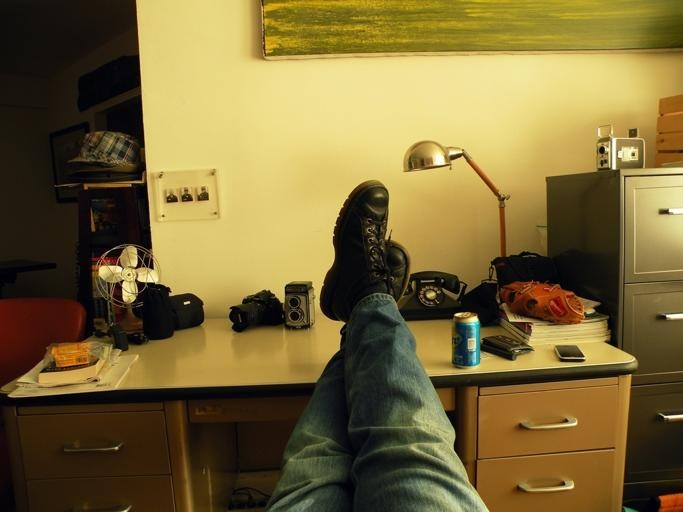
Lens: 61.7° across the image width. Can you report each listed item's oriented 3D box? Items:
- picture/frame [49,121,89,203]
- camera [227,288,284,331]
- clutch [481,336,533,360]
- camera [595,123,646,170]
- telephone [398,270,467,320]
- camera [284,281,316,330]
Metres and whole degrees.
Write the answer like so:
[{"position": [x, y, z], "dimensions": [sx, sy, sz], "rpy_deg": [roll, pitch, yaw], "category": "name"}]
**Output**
[{"position": [-1.954, -0.682, 4.063], "dimensions": [0.051, 0.779, 0.740], "rpy_deg": [5, 12, -34], "category": "picture/frame"}, {"position": [-0.354, 0.217, 2.327], "dimensions": [0.188, 0.129, 0.223], "rpy_deg": [3, 12, 23], "category": "camera"}, {"position": [0.563, 0.309, 1.977], "dimensions": [0.084, 0.031, 0.111], "rpy_deg": [-6, 11, -32], "category": "clutch"}, {"position": [1.073, -0.415, 2.206], "dimensions": [0.151, 0.166, 0.116], "rpy_deg": [-2, 6, -11], "category": "camera"}, {"position": [0.377, 0.153, 2.375], "dimensions": [0.266, 0.175, 0.213], "rpy_deg": [-6, 6, 3], "category": "telephone"}, {"position": [-0.179, 0.196, 2.308], "dimensions": [0.123, 0.182, 0.106], "rpy_deg": [3, 10, 25], "category": "camera"}]
